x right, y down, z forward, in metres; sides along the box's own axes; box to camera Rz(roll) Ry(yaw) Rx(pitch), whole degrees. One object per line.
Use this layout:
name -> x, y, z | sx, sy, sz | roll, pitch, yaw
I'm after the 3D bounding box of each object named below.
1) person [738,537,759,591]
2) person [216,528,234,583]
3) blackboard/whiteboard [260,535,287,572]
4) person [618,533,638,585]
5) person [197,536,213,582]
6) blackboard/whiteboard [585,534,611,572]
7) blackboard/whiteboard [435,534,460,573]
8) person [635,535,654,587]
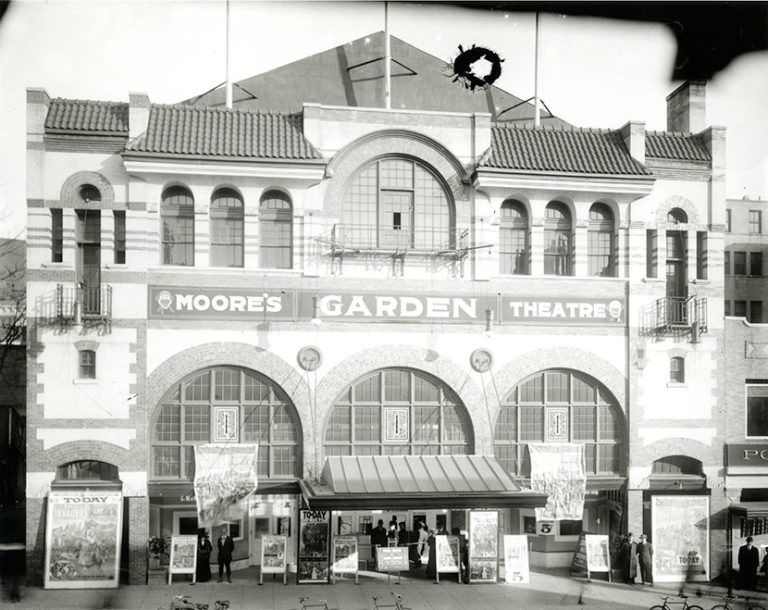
person -> 13.931, 9.890, 70.417 | 0.857, 2.065, 0.612 | 1, -9, -7
person -> -6.000, 9.492, 69.597 | 0.542, 1.983, 1.002 | 1, -9, -6
blackboard/whiteboard -> -4.290, 9.350, 69.058 | 1.147, 1.758, 1.231 | 0, -4, 1
person -> 9.288, 9.735, 70.486 | 0.767, 1.879, 0.500 | -1, -9, 7
person -> -6.777, 9.553, 69.359 | 0.577, 1.789, 0.404 | 3, -9, -19
blackboard/whiteboard -> 8.110, 9.484, 70.091 | 1.266, 1.804, 0.152 | 2, -12, -3
blackboard/whiteboard -> 2.366, 9.431, 69.375 | 1.238, 1.789, 0.162 | 4, -21, -13
person -> 9.943, 9.767, 70.374 | 0.547, 1.891, 0.621 | -1, -9, 11
